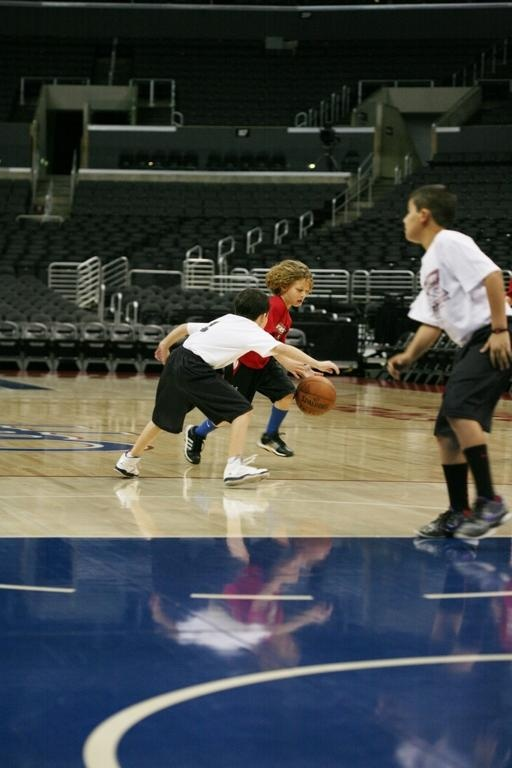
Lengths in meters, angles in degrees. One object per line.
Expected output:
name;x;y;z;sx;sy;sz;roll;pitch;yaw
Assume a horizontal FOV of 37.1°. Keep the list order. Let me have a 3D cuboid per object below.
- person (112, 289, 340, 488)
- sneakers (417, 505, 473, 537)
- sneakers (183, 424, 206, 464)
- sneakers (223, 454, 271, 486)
person;-0.163;0.006;3.946;1.274;0.981;0.509;-2;-2;28
sneakers;0.711;0.510;2.858;0.241;0.089;0.081;-4;3;-14
sneakers;-0.358;0.361;4.558;0.129;0.241;0.091;-8;0;34
sneakers;-0.011;0.434;3.876;0.298;0.172;0.100;-4;-10;-2
